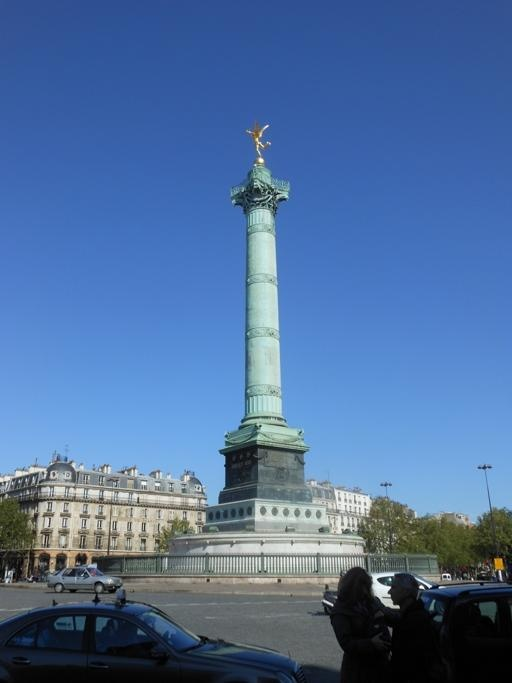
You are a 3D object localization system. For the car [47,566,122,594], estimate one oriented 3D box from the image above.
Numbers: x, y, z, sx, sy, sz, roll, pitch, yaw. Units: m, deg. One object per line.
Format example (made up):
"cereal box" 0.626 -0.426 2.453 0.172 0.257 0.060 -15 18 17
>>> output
"car" -8.614 12.005 29.009 4.383 1.256 1.168 -12 -23 33
